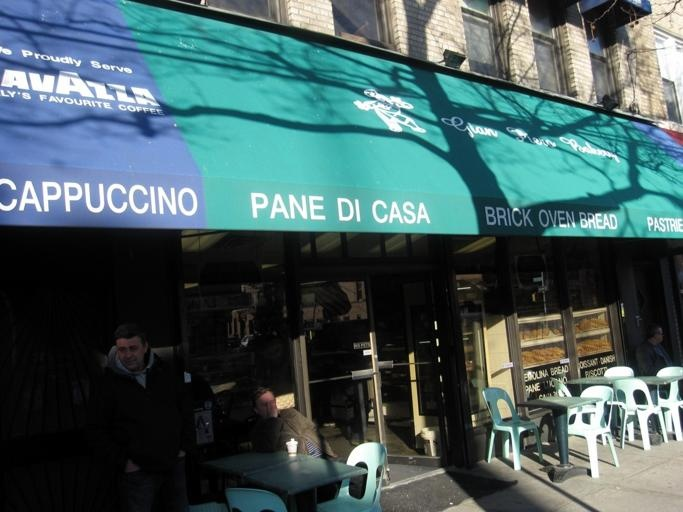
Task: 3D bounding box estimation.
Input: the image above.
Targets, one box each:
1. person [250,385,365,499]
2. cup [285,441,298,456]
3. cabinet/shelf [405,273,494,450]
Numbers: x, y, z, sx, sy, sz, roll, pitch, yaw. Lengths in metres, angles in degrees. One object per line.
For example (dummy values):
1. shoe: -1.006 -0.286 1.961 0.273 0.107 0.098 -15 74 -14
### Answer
1. person: -0.412 2.002 6.736 1.333 0.577 0.453 28 -50 -32
2. cup: -0.522 2.001 6.505 0.125 0.125 0.118 -1 -1 0
3. cabinet/shelf: 1.747 1.357 8.954 1.099 2.317 0.528 -4 0 -38
